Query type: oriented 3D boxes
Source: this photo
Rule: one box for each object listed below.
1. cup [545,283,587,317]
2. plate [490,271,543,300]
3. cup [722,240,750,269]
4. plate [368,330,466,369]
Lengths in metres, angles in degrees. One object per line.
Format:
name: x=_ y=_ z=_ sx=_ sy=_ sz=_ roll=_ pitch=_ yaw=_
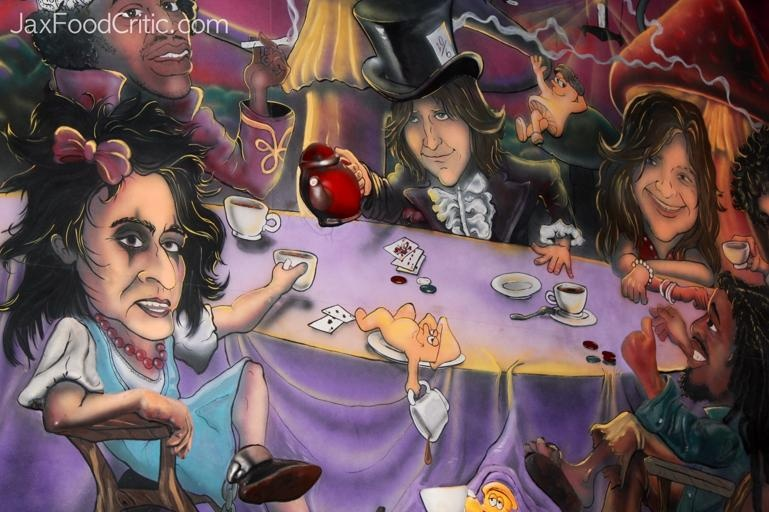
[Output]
cup: x=1.302 y=0.323 z=8.761 sx=0.308 sy=0.231 sz=0.235 roll=0 pitch=15 yaw=13
plate: x=0.937 y=0.210 z=8.605 sx=0.367 sy=0.192 sz=0.060 roll=9 pitch=-5 yaw=-19
cup: x=2.628 y=-0.033 z=9.002 sx=0.206 sy=0.200 sz=0.195 roll=-5 pitch=14 yaw=1
plate: x=0.132 y=0.645 z=8.396 sx=0.436 sy=0.076 sz=0.306 roll=11 pitch=6 yaw=-8
